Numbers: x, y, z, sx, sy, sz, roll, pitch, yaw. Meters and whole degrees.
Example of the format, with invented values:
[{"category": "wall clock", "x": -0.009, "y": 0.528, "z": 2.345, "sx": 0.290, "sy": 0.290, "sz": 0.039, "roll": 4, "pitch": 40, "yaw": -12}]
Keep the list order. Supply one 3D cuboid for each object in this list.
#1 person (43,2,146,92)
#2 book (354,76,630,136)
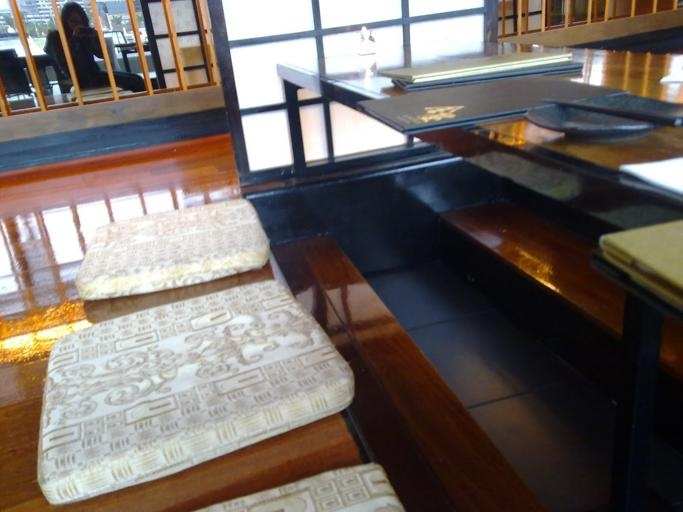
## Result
[{"category": "person", "x": -2.030, "y": -1.672, "z": 4.129, "sx": 0.661, "sy": 0.716, "sz": 0.186, "roll": -16, "pitch": 29, "yaw": -19}, {"category": "book", "x": 0.278, "y": -0.311, "z": 1.015, "sx": 0.447, "sy": 0.027, "sz": 0.330, "roll": -11, "pitch": 27, "yaw": -10}]
